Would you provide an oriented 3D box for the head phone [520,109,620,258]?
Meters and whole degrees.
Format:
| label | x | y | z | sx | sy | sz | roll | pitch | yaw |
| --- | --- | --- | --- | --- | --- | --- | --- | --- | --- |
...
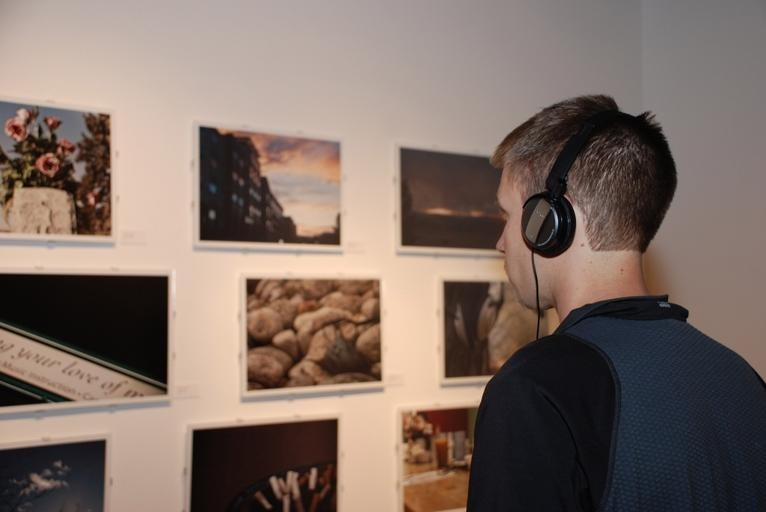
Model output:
| label | x | y | z | sx | sy | sz | roll | pitch | yaw |
| --- | --- | --- | --- | --- | --- | --- | --- | --- | --- |
| head phone | 0.588 | -0.216 | 2.102 | 0.141 | 0.361 | 0.399 | 25 | 4 | 37 |

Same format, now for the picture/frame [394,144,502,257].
| label | x | y | z | sx | sy | sz | roll | pitch | yaw |
| --- | --- | --- | --- | --- | --- | --- | --- | --- | --- |
| picture/frame | 0.395 | -0.244 | 3.214 | 0.685 | 0.509 | 0.016 | 5 | 19 | 16 |

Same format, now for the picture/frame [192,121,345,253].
| label | x | y | z | sx | sy | sz | roll | pitch | yaw |
| --- | --- | --- | --- | --- | --- | --- | --- | --- | --- |
| picture/frame | -0.489 | -0.284 | 2.985 | 0.663 | 0.489 | 0.010 | 5 | 7 | 12 |

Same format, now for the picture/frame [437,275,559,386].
| label | x | y | z | sx | sy | sz | roll | pitch | yaw |
| --- | --- | --- | --- | --- | --- | --- | --- | --- | --- |
| picture/frame | 0.531 | 0.345 | 3.182 | 0.016 | 0.472 | 0.652 | 14 | -16 | -43 |

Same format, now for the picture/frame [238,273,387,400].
| label | x | y | z | sx | sy | sz | roll | pitch | yaw |
| --- | --- | --- | --- | --- | --- | --- | --- | --- | --- |
| picture/frame | -0.336 | 0.361 | 2.999 | 0.584 | 0.445 | 0.011 | 1 | -5 | -19 |
